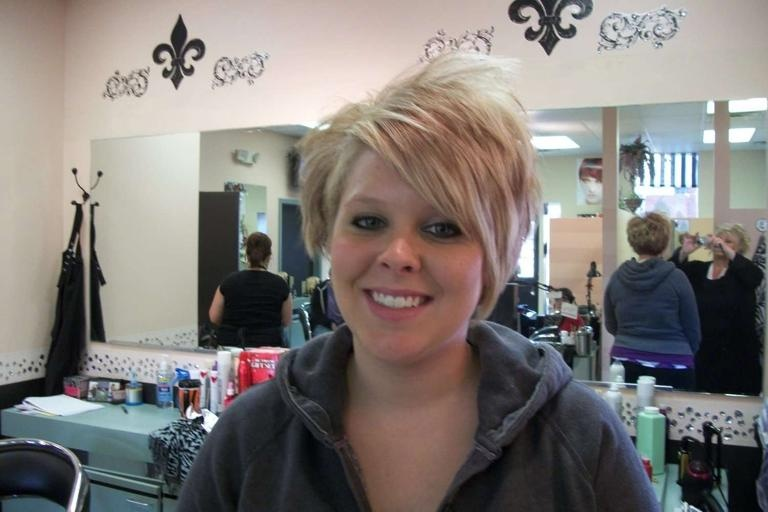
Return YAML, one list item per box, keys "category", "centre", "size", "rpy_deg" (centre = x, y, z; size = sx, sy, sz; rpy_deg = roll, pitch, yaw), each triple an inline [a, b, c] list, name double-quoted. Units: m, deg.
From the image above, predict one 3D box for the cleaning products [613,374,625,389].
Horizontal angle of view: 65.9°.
- category: "cleaning products"
  centre: [1.026, 0.541, 2.602]
  size: [0.064, 0.074, 0.066]
  rpy_deg: [-1, -1, 23]
